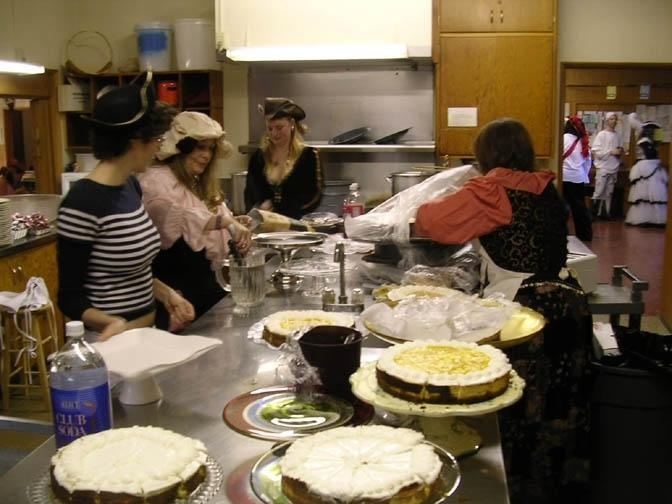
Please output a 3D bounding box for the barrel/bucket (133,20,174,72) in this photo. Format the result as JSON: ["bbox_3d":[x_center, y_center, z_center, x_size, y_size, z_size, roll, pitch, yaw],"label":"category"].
[{"bbox_3d":[-2.098,-2.366,6.265,0.499,0.510,0.485,0,10,0],"label":"barrel/bucket"}]

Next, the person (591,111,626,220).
[{"bbox_3d":[5.719,-1.825,11.283,0.512,2.111,0.850,6,14,36],"label":"person"}]

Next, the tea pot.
[{"bbox_3d":[-0.357,0.093,2.051,0.169,0.233,0.256,-6,12,-19],"label":"tea pot"}]

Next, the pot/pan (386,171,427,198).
[{"bbox_3d":[0.585,-0.507,4.229,0.260,0.188,0.223,-2,6,-7],"label":"pot/pan"}]

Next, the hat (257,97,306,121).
[{"bbox_3d":[-0.462,-1.085,4.097,0.285,0.114,0.255,6,14,33],"label":"hat"}]

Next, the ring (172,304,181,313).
[{"bbox_3d":[-0.611,0.214,2.043,0.021,0.008,0.028,7,25,-5],"label":"ring"}]

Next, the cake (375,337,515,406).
[{"bbox_3d":[0.246,0.254,1.208,0.281,0.060,0.287,0,11,13],"label":"cake"}]

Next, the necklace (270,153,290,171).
[{"bbox_3d":[-0.440,-0.706,4.320,0.209,0.162,0.054,4,13,30],"label":"necklace"}]

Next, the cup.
[{"bbox_3d":[-0.016,0.255,1.272,0.164,0.129,0.130,-11,15,-24],"label":"cup"}]

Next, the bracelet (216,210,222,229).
[{"bbox_3d":[-0.553,-0.138,2.551,0.032,0.074,0.128,-5,11,-12],"label":"bracelet"}]

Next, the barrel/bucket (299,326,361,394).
[{"bbox_3d":[-0.010,0.258,1.276,0.167,0.133,0.128,-13,13,-10],"label":"barrel/bucket"}]

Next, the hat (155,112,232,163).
[{"bbox_3d":[-0.701,-0.554,2.673,0.325,0.165,0.246,-2,5,1],"label":"hat"}]
